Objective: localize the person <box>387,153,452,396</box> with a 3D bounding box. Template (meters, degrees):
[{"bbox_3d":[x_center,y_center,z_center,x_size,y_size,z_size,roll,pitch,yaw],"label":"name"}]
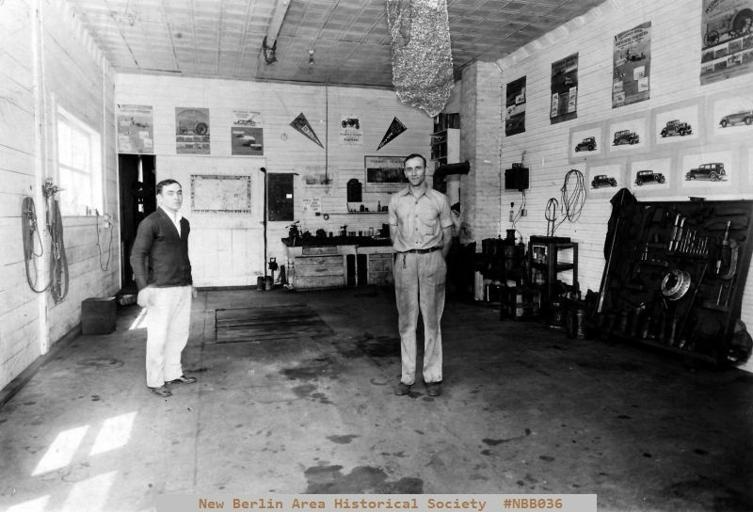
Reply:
[{"bbox_3d":[0.460,0.338,5.076,0.674,2.216,0.571,1,12,7],"label":"person"}]

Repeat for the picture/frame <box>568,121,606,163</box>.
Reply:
[{"bbox_3d":[3.409,-1.838,7.833,0.818,0.584,0.070,-14,18,-26],"label":"picture/frame"}]

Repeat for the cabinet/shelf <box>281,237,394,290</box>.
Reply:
[{"bbox_3d":[-0.952,0.218,10.969,2.767,1.052,0.871,-2,5,-35],"label":"cabinet/shelf"}]

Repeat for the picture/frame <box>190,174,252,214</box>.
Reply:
[{"bbox_3d":[-3.493,-1.368,10.562,0.937,0.614,0.041,0,-3,-16],"label":"picture/frame"}]

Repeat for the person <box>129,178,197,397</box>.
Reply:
[{"bbox_3d":[-2.252,0.336,5.071,0.547,2.237,0.601,-3,12,-15],"label":"person"}]

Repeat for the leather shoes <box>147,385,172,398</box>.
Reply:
[{"bbox_3d":[-2.264,1.443,5.083,0.279,0.113,0.108,3,-1,6],"label":"leather shoes"}]
